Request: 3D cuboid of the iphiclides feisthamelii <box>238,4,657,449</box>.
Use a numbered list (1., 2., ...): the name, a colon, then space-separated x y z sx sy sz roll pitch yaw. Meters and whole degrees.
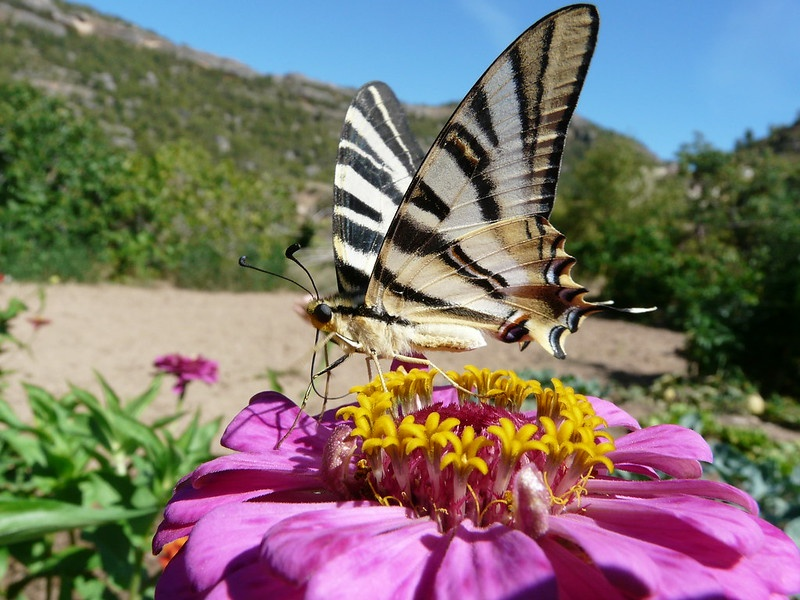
1. iphiclides feisthamelii: 0.090 -0.242 2.723 1.326 1.459 1.096 1 3 -15
